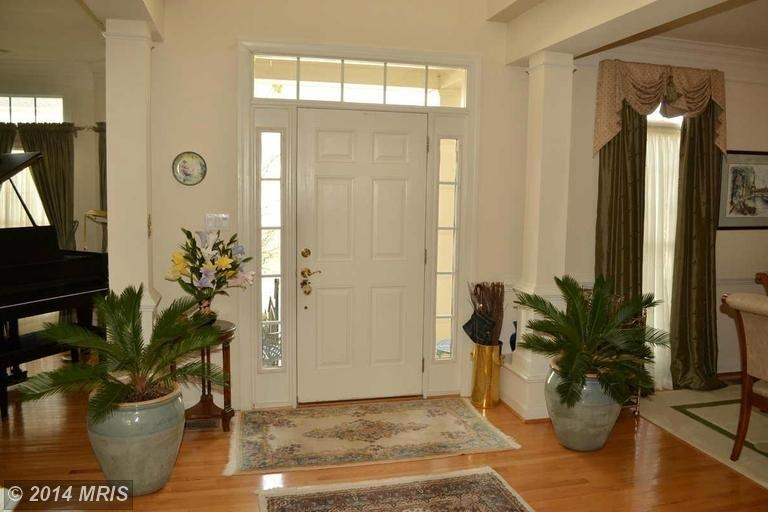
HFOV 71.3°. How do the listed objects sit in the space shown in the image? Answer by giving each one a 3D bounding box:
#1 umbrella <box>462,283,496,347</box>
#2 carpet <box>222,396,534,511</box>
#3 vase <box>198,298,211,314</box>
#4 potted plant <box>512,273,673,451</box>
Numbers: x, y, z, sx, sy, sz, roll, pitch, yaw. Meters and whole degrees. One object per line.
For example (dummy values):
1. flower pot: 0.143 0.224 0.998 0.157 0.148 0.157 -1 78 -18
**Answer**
1. umbrella: 0.990 0.563 5.382 0.387 0.623 0.177 3 8 18
2. carpet: -0.065 1.684 4.634 2.491 0.250 1.539 0 7 -5
3. vase: -1.588 0.444 4.768 0.105 0.141 0.051 2 4 -21
4. potted plant: 1.800 0.921 4.713 1.185 1.499 0.833 -2 8 -16
